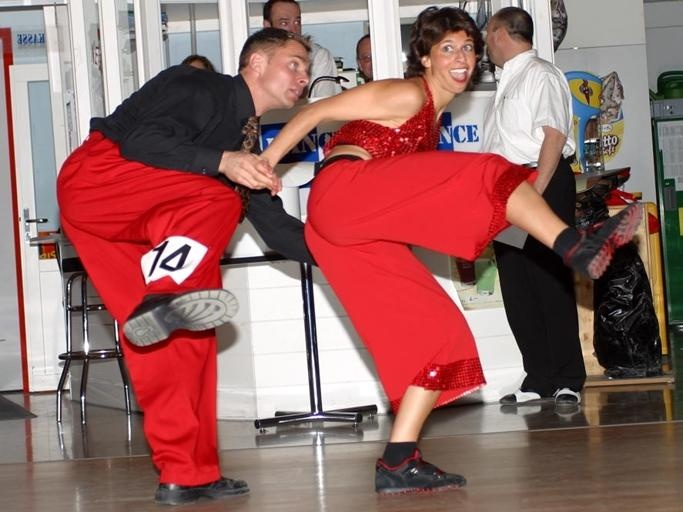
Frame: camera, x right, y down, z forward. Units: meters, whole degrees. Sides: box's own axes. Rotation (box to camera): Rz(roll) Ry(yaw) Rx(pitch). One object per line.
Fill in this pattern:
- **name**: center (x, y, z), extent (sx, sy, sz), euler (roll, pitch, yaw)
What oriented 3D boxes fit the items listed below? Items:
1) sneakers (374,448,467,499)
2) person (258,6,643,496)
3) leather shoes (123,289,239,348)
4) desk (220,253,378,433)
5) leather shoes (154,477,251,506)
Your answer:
- **sneakers**: center (0.271, 0.857, 2.932), extent (0.405, 0.157, 0.136), euler (-1, -4, -5)
- **person**: center (0.331, -0.047, 2.870), extent (1.226, 1.907, 0.388), euler (-3, 3, 15)
- **leather shoes**: center (-0.614, 0.224, 2.735), extent (0.428, 0.139, 0.286), euler (-13, 17, -14)
- **desk**: center (-0.177, 0.472, 4.271), extent (1.009, 0.969, 0.972), euler (-7, -8, 25)
- **leather shoes**: center (-0.548, 0.927, 2.978), extent (0.368, 0.135, 0.118), euler (-2, 2, -24)
